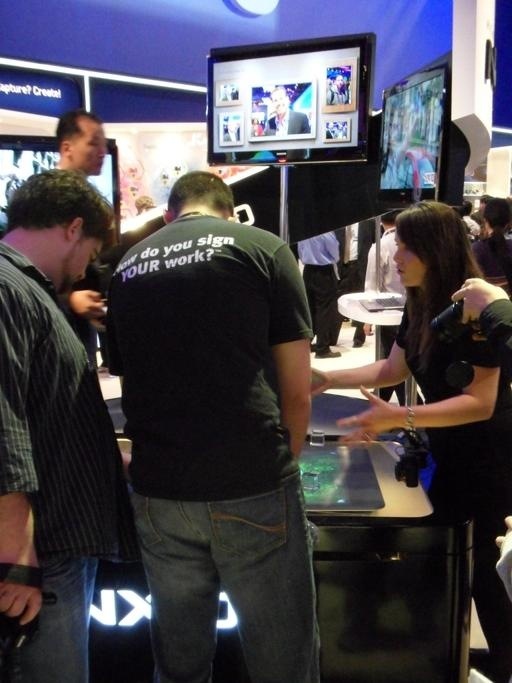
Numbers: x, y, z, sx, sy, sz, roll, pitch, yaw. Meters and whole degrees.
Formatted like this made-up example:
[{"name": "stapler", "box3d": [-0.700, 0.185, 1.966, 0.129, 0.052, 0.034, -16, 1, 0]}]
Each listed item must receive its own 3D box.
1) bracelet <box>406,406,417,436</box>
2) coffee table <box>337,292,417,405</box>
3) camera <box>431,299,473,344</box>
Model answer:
[{"name": "bracelet", "box3d": [0.451, 0.236, 1.619, 0.023, 0.078, 0.059, 0, 11, -9]}, {"name": "coffee table", "box3d": [0.606, -0.011, 3.449, 0.586, 0.746, 0.644, 0, 18, 2]}, {"name": "camera", "box3d": [0.496, -0.052, 1.410, 0.047, 0.071, 0.114, -25, -12, -18]}]
